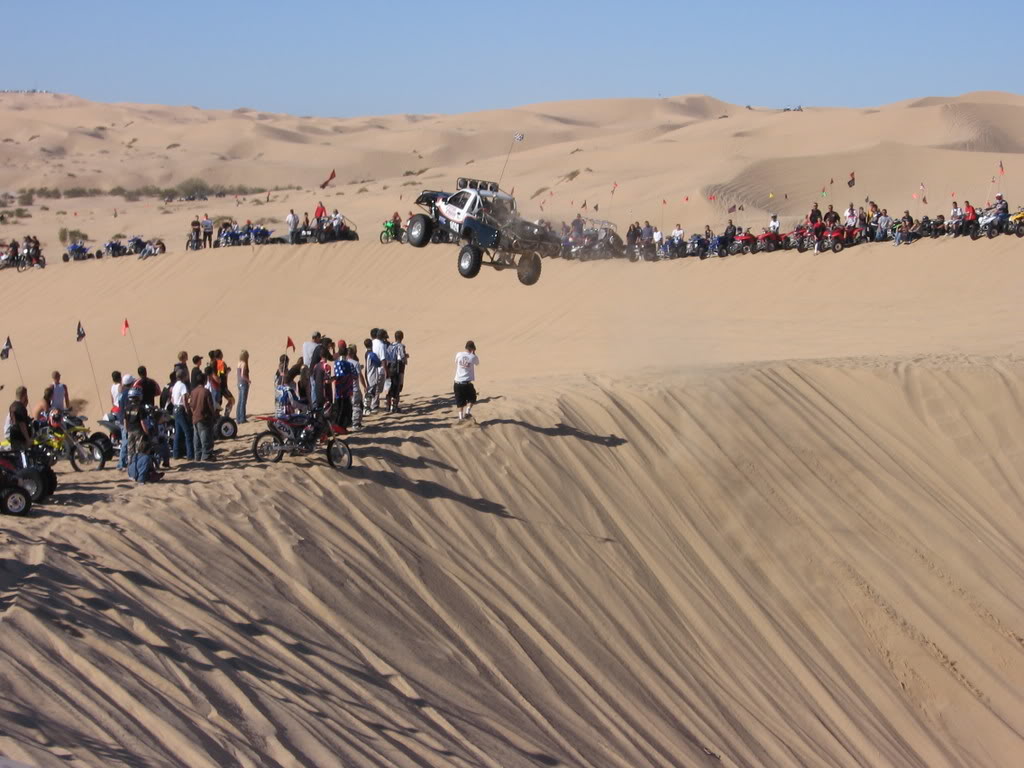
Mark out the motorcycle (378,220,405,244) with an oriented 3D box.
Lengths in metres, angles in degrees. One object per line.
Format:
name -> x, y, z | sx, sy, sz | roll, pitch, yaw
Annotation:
motorcycle -> -3.192, -4.143, 41.284 | 0.863, 0.559, 0.531 | -6, 33, -39

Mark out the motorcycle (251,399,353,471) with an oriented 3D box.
motorcycle -> -3.594, 0.911, 25.883 | 1.727, 1.139, 0.880 | 2, -5, 2

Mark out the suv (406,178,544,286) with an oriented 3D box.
suv -> -0.725, -3.469, 32.970 | 3.300, 1.711, 1.966 | 24, 19, 32

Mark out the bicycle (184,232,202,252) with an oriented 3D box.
bicycle -> -9.441, -4.144, 44.019 | 0.490, 0.565, 0.554 | 3, -7, -24
